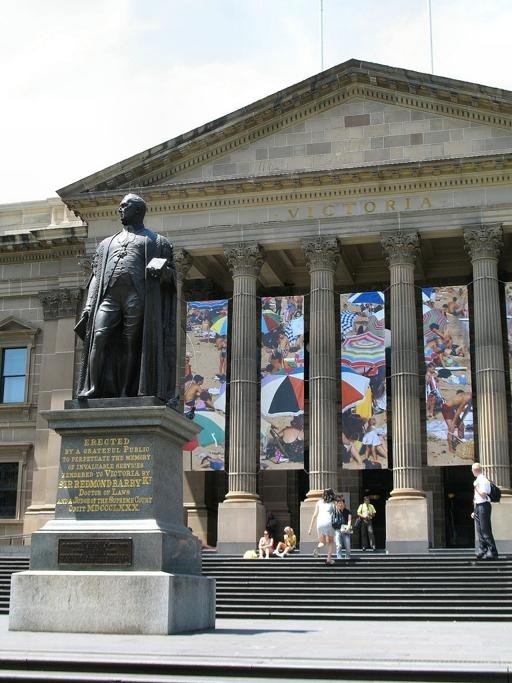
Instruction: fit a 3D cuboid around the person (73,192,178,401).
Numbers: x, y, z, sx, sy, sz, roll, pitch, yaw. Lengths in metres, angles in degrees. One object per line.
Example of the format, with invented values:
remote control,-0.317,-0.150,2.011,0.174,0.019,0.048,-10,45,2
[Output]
person,-1.395,-0.529,9.892,1.017,2.434,0.675,0,-15,-7
